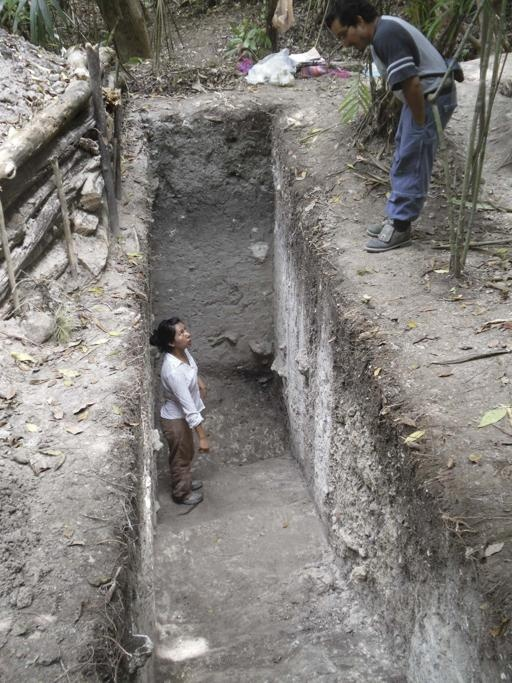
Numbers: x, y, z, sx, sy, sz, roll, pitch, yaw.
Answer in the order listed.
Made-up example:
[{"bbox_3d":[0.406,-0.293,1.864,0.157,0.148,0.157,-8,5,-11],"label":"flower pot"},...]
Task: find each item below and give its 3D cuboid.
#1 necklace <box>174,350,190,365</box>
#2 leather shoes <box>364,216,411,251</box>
[{"bbox_3d":[-0.552,0.105,4.291,0.085,0.148,0.122,-10,70,4],"label":"necklace"},{"bbox_3d":[0.827,-0.656,3.622,0.301,0.129,0.181,-13,68,-3],"label":"leather shoes"}]
